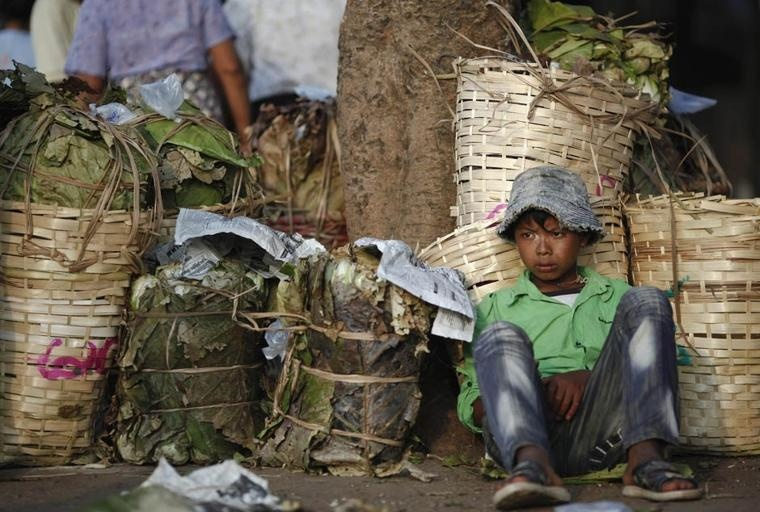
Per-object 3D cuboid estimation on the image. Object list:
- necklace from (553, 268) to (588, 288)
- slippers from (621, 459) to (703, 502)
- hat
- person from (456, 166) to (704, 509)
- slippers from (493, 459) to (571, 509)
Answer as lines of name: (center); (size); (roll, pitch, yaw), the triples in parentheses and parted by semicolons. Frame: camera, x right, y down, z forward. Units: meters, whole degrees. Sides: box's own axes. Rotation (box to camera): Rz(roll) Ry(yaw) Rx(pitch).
necklace: (1.115, 0.129, 7.084); (0.132, 0.064, 0.165); (-9, 2, -30)
slippers: (1.487, 1.180, 6.442); (0.398, 0.134, 0.205); (-7, -8, 38)
hat: (1.050, -0.305, 7.020); (0.591, 0.263, 0.430); (14, -14, -14)
person: (1.077, 0.394, 6.713); (1.251, 1.834, 1.001); (1, -1, 3)
slippers: (0.782, 1.179, 6.288); (0.198, 0.163, 0.455); (-19, -26, 35)
